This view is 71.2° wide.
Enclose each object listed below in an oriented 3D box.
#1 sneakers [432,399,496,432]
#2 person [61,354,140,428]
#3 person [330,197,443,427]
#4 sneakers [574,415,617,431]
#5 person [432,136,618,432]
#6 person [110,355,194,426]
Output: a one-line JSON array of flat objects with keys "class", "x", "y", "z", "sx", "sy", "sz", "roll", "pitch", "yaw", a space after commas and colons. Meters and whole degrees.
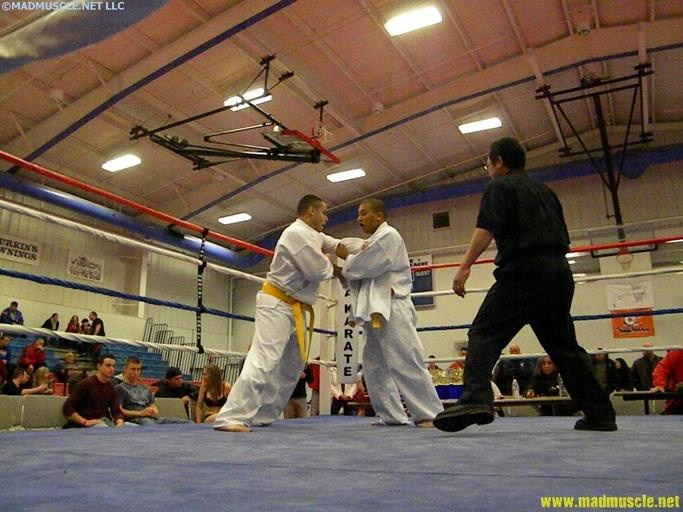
[{"class": "sneakers", "x": 0.499, "y": 0.654, "z": 2.024, "sx": 0.299, "sy": 0.097, "sz": 0.123, "roll": -5, "pitch": 28, "yaw": -5}, {"class": "person", "x": -1.994, "y": 1.165, "z": 3.980, "sx": 0.599, "sy": 0.652, "sz": 0.477, "roll": -8, "pitch": -24, "yaw": 4}, {"class": "person", "x": 0.279, "y": 0.296, "z": 3.000, "sx": 0.622, "sy": 1.457, "sz": 0.538, "roll": 0, "pitch": -18, "yaw": 0}, {"class": "sneakers", "x": 1.110, "y": 0.727, "z": 2.088, "sx": 0.153, "sy": 0.059, "sz": 0.255, "roll": -1, "pitch": -15, "yaw": 4}, {"class": "person", "x": 0.800, "y": 0.053, "z": 2.238, "sx": 0.818, "sy": 1.458, "sz": 0.352, "roll": 0, "pitch": -18, "yaw": 3}, {"class": "person", "x": -1.788, "y": 1.319, "z": 4.491, "sx": 0.959, "sy": 0.587, "sz": 0.448, "roll": -2, "pitch": -3, "yaw": 35}]
